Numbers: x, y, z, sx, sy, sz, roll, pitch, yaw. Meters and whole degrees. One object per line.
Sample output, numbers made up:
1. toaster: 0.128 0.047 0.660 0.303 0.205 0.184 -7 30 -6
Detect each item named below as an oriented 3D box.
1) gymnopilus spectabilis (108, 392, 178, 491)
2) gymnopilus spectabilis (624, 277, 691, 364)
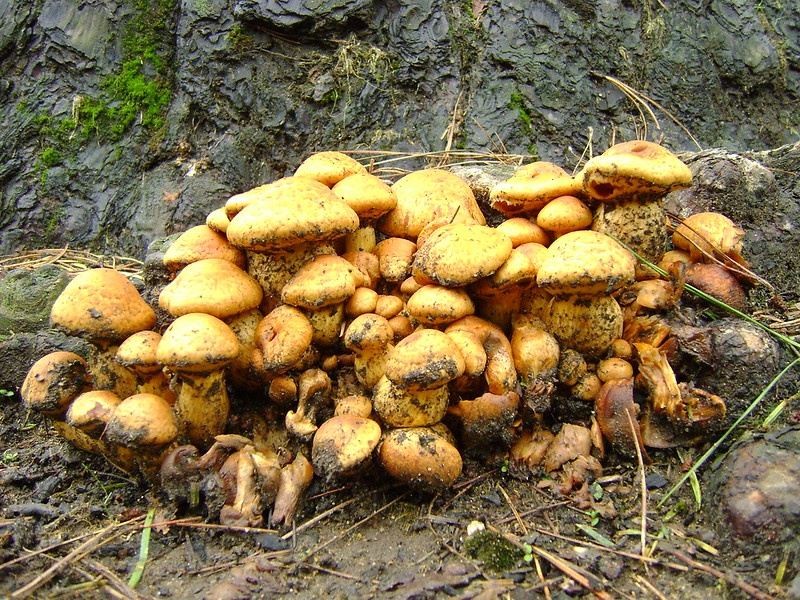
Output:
1. gymnopilus spectabilis: -2.024 1.109 5.218 0.536 0.633 0.373 -12 39 -20
2. gymnopilus spectabilis: 2.188 0.186 5.664 0.493 0.187 0.672 8 71 44
